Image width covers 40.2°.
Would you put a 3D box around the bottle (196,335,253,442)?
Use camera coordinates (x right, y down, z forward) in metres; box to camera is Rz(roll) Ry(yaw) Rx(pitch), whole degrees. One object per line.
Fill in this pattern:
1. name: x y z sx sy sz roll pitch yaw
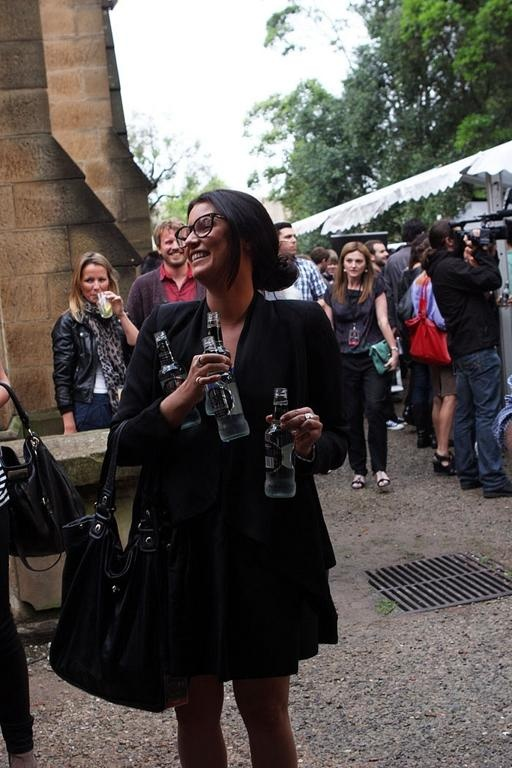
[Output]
1. bottle: -0.062 0.015 1.394 0.085 0.219 0.124 -4 4 -4

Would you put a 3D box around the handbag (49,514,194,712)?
1. handbag: -0.303 0.479 1.471 0.283 0.390 0.131 -1 5 34

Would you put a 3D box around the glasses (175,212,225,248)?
1. glasses: -0.138 -0.327 1.515 0.061 0.065 0.150 -7 5 -35

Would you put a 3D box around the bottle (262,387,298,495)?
1. bottle: 0.047 0.117 1.393 0.072 0.211 0.056 -5 4 -17

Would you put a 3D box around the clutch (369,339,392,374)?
1. clutch: 1.149 -0.258 6.566 0.270 0.255 0.096 -17 7 -43
